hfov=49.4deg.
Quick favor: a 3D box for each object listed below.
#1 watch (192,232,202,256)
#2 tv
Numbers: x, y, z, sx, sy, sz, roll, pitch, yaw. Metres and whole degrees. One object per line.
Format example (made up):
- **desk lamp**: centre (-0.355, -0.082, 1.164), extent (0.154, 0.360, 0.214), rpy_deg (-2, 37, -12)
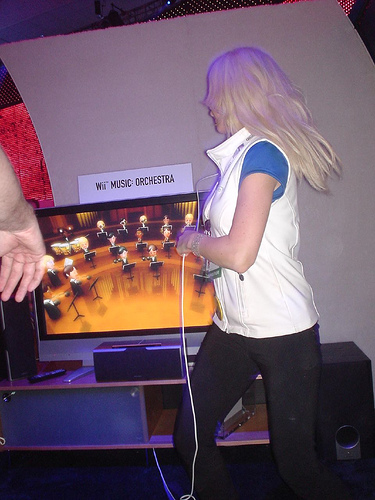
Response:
- **watch**: centre (0.022, -0.022, 1.269), extent (0.023, 0.052, 0.055), rpy_deg (-12, 73, 24)
- **tv**: centre (-0.312, 0.104, 2.174), extent (0.974, 0.591, 0.034), rpy_deg (-3, -2, 4)
